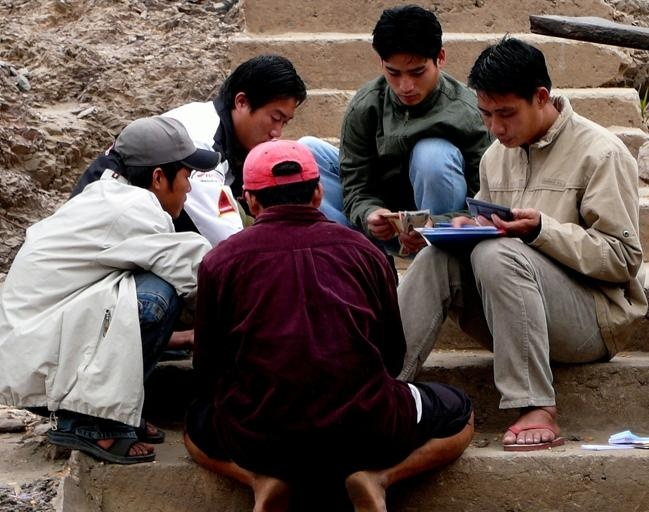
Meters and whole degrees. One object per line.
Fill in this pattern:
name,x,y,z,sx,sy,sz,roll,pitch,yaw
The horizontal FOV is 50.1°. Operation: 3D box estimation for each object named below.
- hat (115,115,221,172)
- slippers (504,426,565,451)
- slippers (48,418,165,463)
hat,-0.770,-0.553,3.359,0.392,0.202,0.249,-3,15,-8
slippers,0.921,0.784,3.023,0.210,0.080,0.114,1,-4,-4
slippers,-0.994,0.803,3.077,0.352,0.127,0.272,10,5,3
